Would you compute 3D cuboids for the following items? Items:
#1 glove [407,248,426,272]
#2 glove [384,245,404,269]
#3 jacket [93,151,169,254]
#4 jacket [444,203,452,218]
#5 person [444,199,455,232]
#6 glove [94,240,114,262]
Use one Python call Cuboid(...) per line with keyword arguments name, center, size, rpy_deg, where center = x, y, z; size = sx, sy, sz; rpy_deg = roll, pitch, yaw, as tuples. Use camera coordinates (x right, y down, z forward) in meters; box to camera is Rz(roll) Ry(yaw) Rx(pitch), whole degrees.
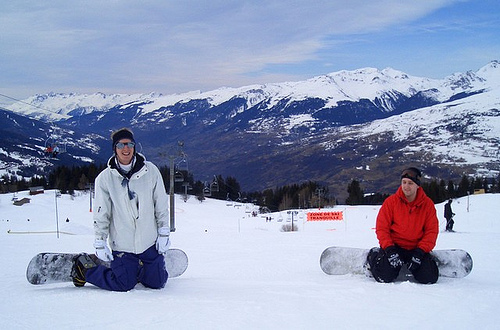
Cuboid(name="glove", center=(3.795, 2.173, 11.692), size=(0.300, 0.520, 0.183), rpy_deg=(26, -9, 14))
Cuboid(name="glove", center=(3.279, 2.094, 11.731), size=(0.390, 0.166, 0.522), rpy_deg=(17, -36, 43))
Cuboid(name="jacket", center=(-2.671, 0.833, 11.518), size=(1.615, 2.272, 0.512), rpy_deg=(1, -6, -20))
Cuboid(name="jacket", center=(9.433, 2.143, 24.418), size=(0.286, 0.672, 0.331), rpy_deg=(-1, -5, 10))
Cuboid(name="person", center=(9.476, 2.393, 24.499), size=(0.397, 1.455, 1.036), rpy_deg=(-3, -6, 21))
Cuboid(name="glove", center=(-3.259, 1.890, 11.423), size=(0.345, 0.483, 0.186), rpy_deg=(-20, 6, 8))
